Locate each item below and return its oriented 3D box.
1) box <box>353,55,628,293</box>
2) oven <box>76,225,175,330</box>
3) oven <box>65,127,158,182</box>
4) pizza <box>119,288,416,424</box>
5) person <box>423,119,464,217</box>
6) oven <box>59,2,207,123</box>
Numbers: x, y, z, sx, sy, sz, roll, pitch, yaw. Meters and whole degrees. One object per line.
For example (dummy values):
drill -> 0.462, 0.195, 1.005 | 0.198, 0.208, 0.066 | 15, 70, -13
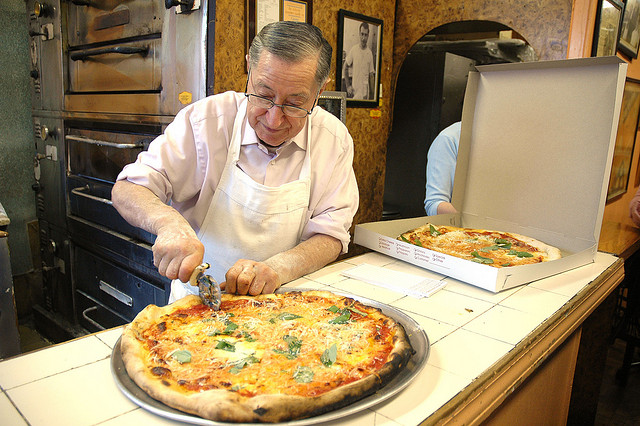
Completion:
box -> 0.956, -0.278, 2.527 | 1.185, 1.109, 1.127 | -13, 18, -36
oven -> -1.273, 0.411, 2.836 | 0.691, 0.650, 0.378 | 19, 19, 36
oven -> -1.527, -0.443, 3.390 | 0.800, 0.375, 0.584 | 12, 12, 24
pizza -> -0.188, 0.485, 1.612 | 1.048, 0.118, 0.673 | -2, 18, -8
person -> 0.964, -0.380, 3.488 | 0.269, 0.839, 1.372 | 5, 19, 13
oven -> -1.244, -1.041, 2.947 | 0.978, 0.679, 0.692 | 10, 14, 25
